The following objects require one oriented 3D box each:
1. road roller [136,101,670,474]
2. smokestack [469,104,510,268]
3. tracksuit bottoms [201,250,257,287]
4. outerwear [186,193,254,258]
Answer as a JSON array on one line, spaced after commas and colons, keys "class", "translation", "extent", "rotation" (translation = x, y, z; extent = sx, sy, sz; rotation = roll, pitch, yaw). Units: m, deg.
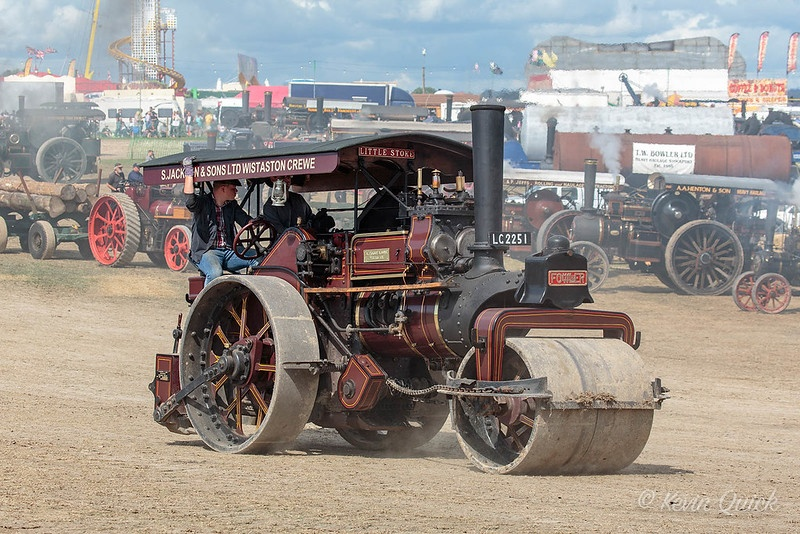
[{"class": "road roller", "translation": [-0.217, 0.521, 19.540], "extent": [7.115, 4.315, 4.609], "rotation": [0, 0, 42]}, {"class": "smokestack", "translation": [1.202, -1.088, 18.478], "extent": [0.576, 2.309, 0.718], "rotation": [3, 9, 1]}, {"class": "tracksuit bottoms", "translation": [-2.750, -0.022, 19.928], "extent": [0.910, 0.274, 0.521], "rotation": [-11, 34, -41]}, {"class": "outerwear", "translation": [-2.840, -0.582, 20.110], "extent": [1.127, 1.093, 0.557], "rotation": [7, -15, -25]}]
